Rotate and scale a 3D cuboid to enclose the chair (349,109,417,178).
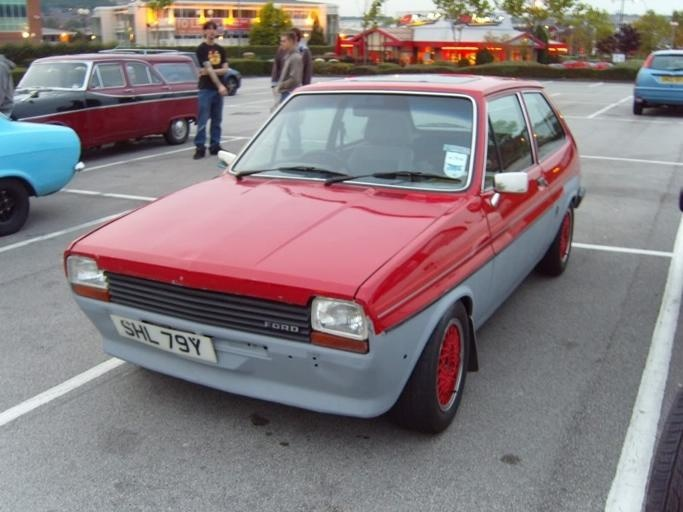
[{"bbox_3d":[0.318,-0.811,3.520,0.447,0.502,0.612,4,4,16],"label":"chair"}]
